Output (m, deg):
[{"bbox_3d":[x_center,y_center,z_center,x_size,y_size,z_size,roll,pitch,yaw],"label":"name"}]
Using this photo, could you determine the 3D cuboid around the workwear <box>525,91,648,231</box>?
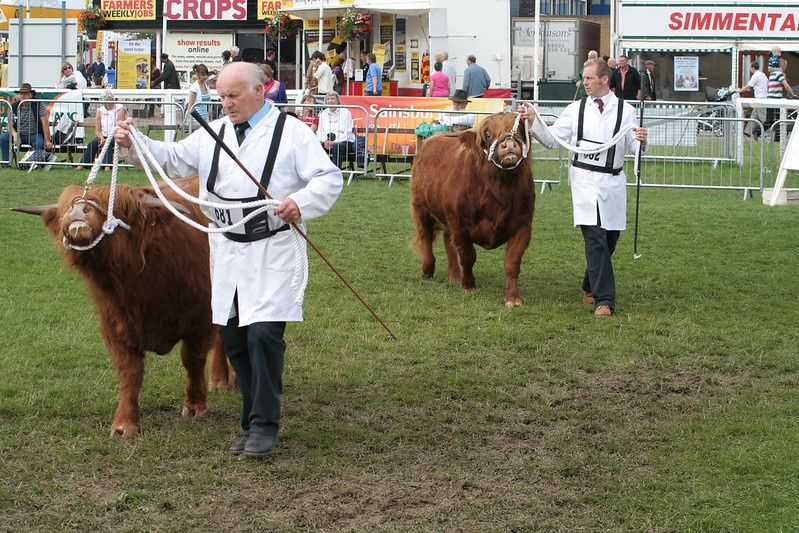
[{"bbox_3d":[2.132,-1.093,14.421,1.288,2.038,0.943,4,-14,-2],"label":"workwear"}]

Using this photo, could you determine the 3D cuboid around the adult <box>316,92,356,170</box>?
[{"bbox_3d":[-1.069,-2.227,21.027,0.417,1.192,0.614,-1,18,44],"label":"adult"}]

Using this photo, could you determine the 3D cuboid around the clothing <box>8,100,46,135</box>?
[{"bbox_3d":[-6.403,-2.577,21.447,0.520,0.711,0.385,-3,28,-13],"label":"clothing"}]

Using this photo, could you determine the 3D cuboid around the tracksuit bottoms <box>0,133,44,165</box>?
[{"bbox_3d":[-6.508,-2.090,21.452,0.560,0.776,0.590,0,-8,2],"label":"tracksuit bottoms"}]
